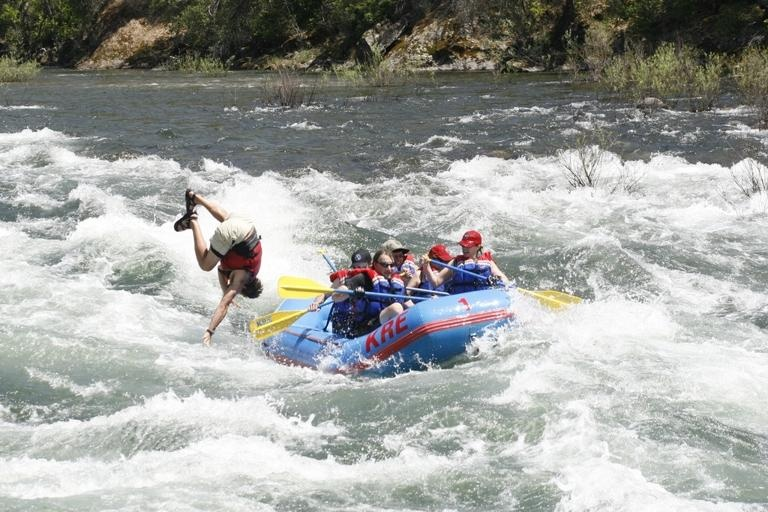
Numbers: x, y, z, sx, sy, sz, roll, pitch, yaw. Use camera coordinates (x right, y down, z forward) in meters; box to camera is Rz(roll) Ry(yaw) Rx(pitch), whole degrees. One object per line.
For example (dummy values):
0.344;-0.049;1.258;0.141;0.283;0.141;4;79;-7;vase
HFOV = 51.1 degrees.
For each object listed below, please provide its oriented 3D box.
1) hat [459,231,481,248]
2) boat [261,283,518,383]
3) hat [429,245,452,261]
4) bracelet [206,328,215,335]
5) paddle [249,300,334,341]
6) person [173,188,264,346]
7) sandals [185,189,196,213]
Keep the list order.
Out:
1.230;-0.240;11.293;0.310;0.147;0.199;-3;8;-29;hat
-0.107;1.133;10.963;2.515;0.565;1.481;-6;3;37;boat
0.845;-0.032;11.749;0.324;0.161;0.214;14;8;-6;hat
-2.422;1.049;11.283;0.095;0.038;0.102;13;-10;9;bracelet
-1.393;0.924;11.643;1.404;0.356;0.105;-16;-23;1;paddle
-2.302;-0.051;11.586;0.626;1.831;0.933;12;19;42;person
-2.728;-0.770;11.353;0.194;0.394;0.123;2;10;5;sandals
